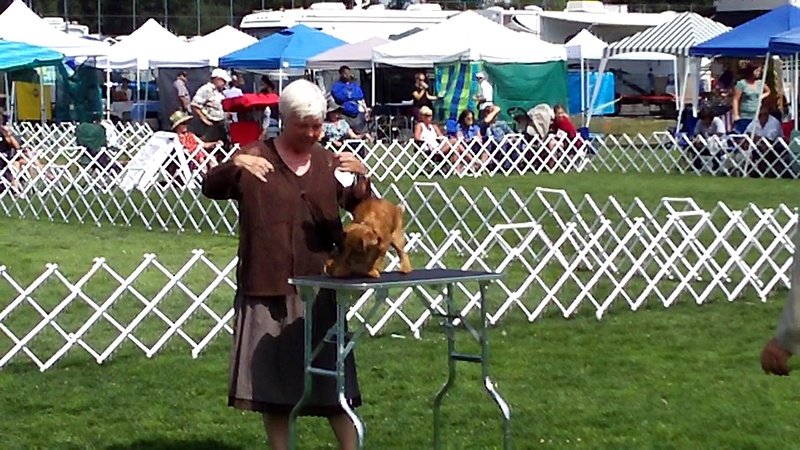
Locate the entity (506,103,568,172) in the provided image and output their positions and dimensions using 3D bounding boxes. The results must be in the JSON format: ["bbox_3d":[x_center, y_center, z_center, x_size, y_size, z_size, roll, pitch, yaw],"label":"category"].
[{"bbox_3d":[3.063,-1.948,22.753,1.108,1.496,0.604,-4,-4,-17],"label":"entity"}]

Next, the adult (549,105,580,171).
[{"bbox_3d":[3.615,-1.982,22.694,0.798,1.545,0.548,-17,32,-29],"label":"adult"}]

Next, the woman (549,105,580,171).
[{"bbox_3d":[3.619,-1.973,22.672,0.694,1.444,0.484,-7,22,-20],"label":"woman"}]

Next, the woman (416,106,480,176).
[{"bbox_3d":[0.872,-1.801,21.791,1.178,1.396,1.394,-7,11,-36],"label":"woman"}]

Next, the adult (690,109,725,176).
[{"bbox_3d":[6.752,-1.885,22.264,0.707,1.619,0.936,2,-8,-7],"label":"adult"}]

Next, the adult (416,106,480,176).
[{"bbox_3d":[0.888,-1.804,21.803,1.191,1.396,1.378,-6,11,-33],"label":"adult"}]

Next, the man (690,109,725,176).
[{"bbox_3d":[6.778,-1.892,22.264,0.805,1.575,0.802,9,-12,-27],"label":"man"}]

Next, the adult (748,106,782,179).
[{"bbox_3d":[7.668,-1.750,21.279,0.724,1.442,0.607,3,9,21],"label":"adult"}]
